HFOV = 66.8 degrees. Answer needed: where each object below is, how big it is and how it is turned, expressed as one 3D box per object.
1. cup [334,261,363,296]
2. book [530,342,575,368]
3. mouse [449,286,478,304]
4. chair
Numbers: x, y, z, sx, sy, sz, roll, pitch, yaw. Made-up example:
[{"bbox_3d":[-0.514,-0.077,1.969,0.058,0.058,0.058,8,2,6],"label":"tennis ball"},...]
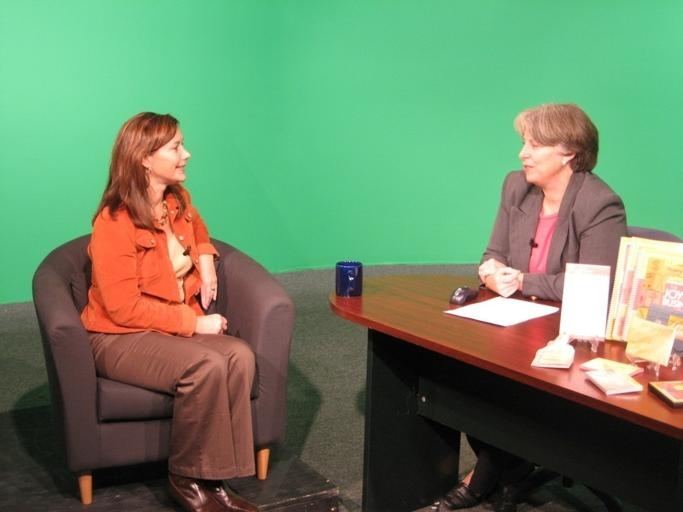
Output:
[{"bbox_3d":[0.027,0.084,2.010,0.107,0.134,0.113,2,14,0],"label":"cup"},{"bbox_3d":[0.571,0.258,1.401,0.072,0.034,0.076,-4,17,24],"label":"book"},{"bbox_3d":[0.463,0.145,1.938,0.052,0.043,0.111,0,3,44],"label":"mouse"},{"bbox_3d":[-0.831,0.457,2.389,1.017,1.016,0.975,1,1,-23],"label":"chair"}]
